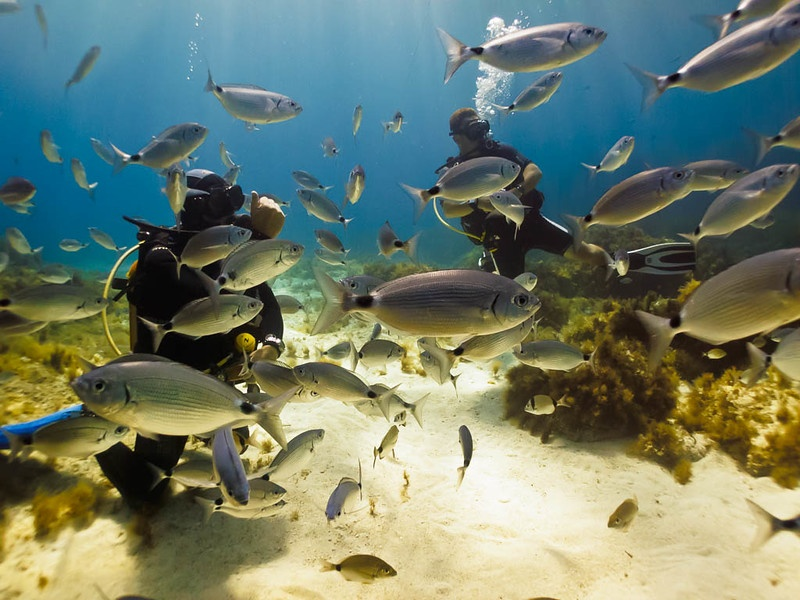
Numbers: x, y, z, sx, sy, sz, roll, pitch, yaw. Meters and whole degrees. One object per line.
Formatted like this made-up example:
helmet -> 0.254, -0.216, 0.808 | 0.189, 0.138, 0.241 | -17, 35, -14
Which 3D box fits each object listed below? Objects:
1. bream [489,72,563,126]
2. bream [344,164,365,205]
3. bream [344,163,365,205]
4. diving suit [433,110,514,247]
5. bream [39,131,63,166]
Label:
bream -> 1.872, -2.998, 8.204 | 1.132, 0.457, 0.239 | -33, 46, 3
bream -> -0.763, -1.931, 9.413 | 0.260, 0.809, 0.402 | 9, 2, -7
bream -> -0.757, -1.949, 9.407 | 0.260, 0.807, 0.402 | 9, 2, -7
diving suit -> 1.273, -2.647, 10.724 | 1.519, 2.812, 1.487 | 9, -14, 20
bream -> -6.848, -2.974, 10.885 | 0.287, 0.630, 0.535 | 3, 12, -17
